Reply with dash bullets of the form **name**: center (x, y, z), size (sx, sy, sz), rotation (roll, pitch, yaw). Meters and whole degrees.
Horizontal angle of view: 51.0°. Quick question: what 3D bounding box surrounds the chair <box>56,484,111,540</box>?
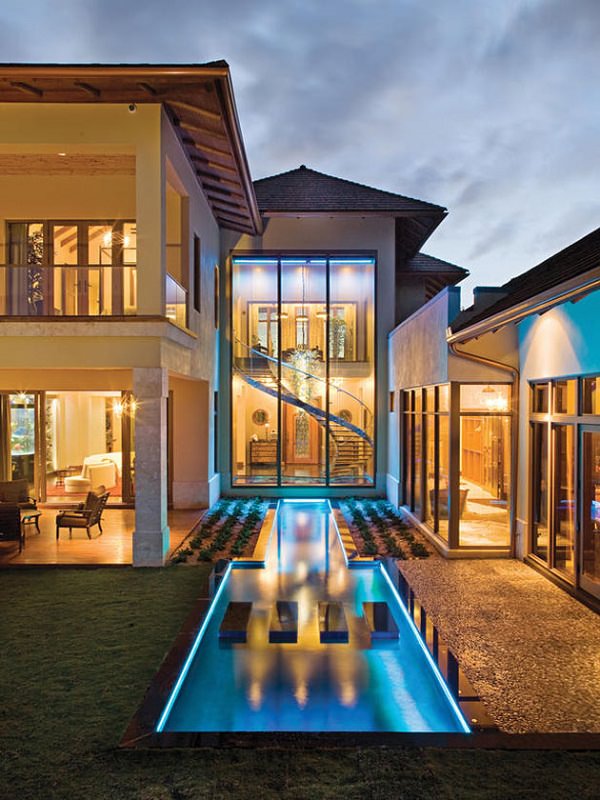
- **chair**: center (-3.558, 1.781, 10.399), size (0.863, 1.012, 0.897), rotation (-1, -4, 0)
